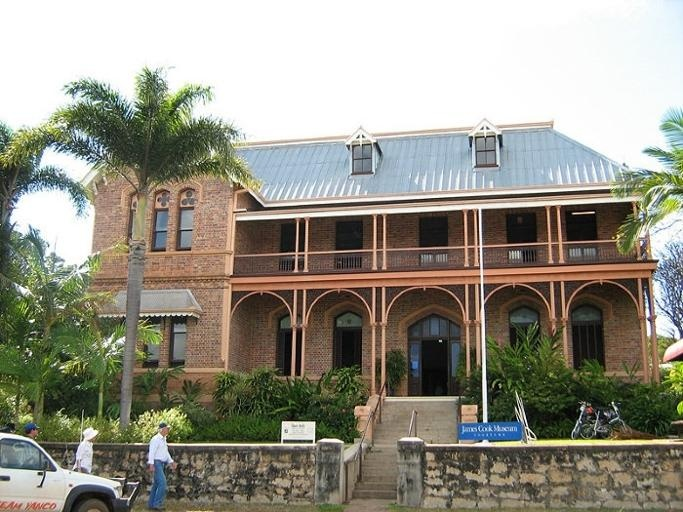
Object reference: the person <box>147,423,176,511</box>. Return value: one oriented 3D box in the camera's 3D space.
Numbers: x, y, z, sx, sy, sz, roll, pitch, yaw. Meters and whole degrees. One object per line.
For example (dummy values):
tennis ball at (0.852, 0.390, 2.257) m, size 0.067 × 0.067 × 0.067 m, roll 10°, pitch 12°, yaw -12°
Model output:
person at (-4.022, 4.645, 13.649) m, size 0.538 × 1.821 × 1.512 m, roll 6°, pitch -18°, yaw -14°

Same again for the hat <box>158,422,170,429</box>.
hat at (-3.895, 3.706, 13.470) m, size 0.205 × 0.099 × 0.131 m, roll -1°, pitch -4°, yaw -19°

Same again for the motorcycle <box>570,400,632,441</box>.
motorcycle at (7.847, 5.119, 19.210) m, size 1.878 × 1.156 × 0.960 m, roll -1°, pitch -12°, yaw 4°
